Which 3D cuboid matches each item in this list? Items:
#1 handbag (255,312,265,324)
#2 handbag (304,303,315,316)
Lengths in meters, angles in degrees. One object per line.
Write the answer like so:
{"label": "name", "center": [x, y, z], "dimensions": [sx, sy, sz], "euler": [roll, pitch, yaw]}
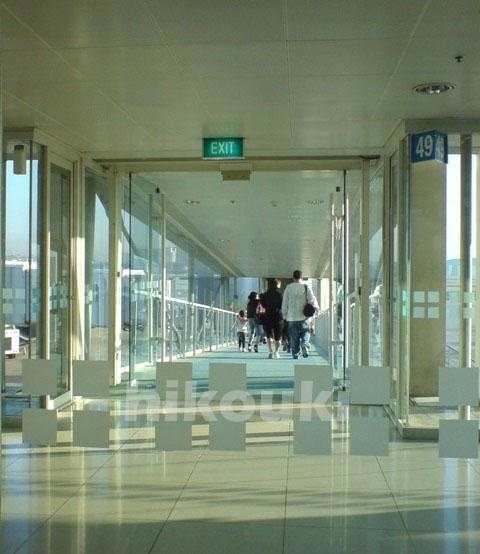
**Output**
{"label": "handbag", "center": [0.202, 0.403, 6.323], "dimensions": [0.069, 0.147, 0.073], "euler": [10, 28, 27]}
{"label": "handbag", "center": [0.594, 0.292, 5.629], "dimensions": [0.087, 0.108, 0.022], "euler": [12, 0, 34]}
